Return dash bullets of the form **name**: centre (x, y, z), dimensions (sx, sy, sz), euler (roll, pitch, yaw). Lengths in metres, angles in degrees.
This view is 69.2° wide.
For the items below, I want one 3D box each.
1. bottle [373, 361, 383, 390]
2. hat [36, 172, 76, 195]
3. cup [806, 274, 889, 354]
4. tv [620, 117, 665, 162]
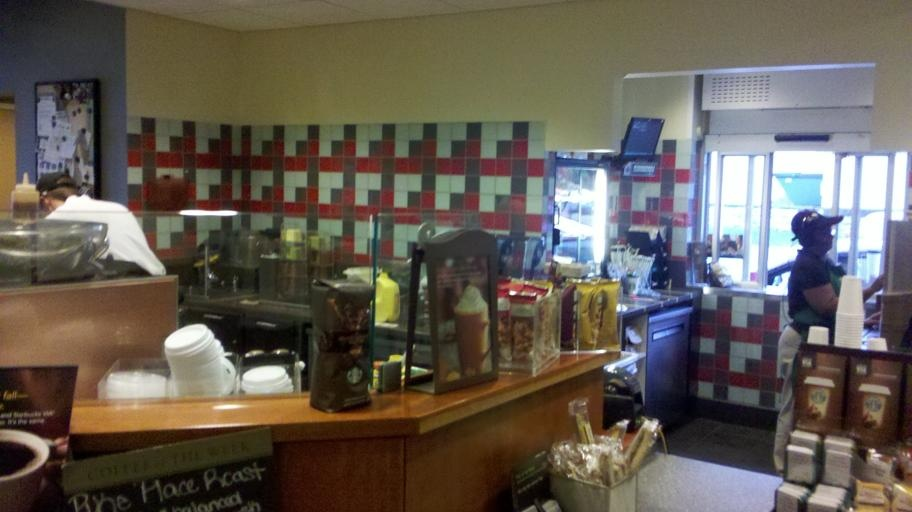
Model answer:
- **bottle**: centre (-0.359, 0.561, 3.094), dimensions (0.045, 0.139, 0.059), euler (-7, 10, -42)
- **hat**: centre (-3.034, -0.569, 5.051), dimensions (0.289, 0.138, 0.208), euler (12, 13, 41)
- **cup**: centre (2.099, 0.306, 3.568), dimensions (0.413, 0.366, 0.239), euler (-5, 9, -39)
- **tv**: centre (1.785, -1.126, 6.382), dimensions (0.504, 0.340, 0.066), euler (10, 23, -44)
